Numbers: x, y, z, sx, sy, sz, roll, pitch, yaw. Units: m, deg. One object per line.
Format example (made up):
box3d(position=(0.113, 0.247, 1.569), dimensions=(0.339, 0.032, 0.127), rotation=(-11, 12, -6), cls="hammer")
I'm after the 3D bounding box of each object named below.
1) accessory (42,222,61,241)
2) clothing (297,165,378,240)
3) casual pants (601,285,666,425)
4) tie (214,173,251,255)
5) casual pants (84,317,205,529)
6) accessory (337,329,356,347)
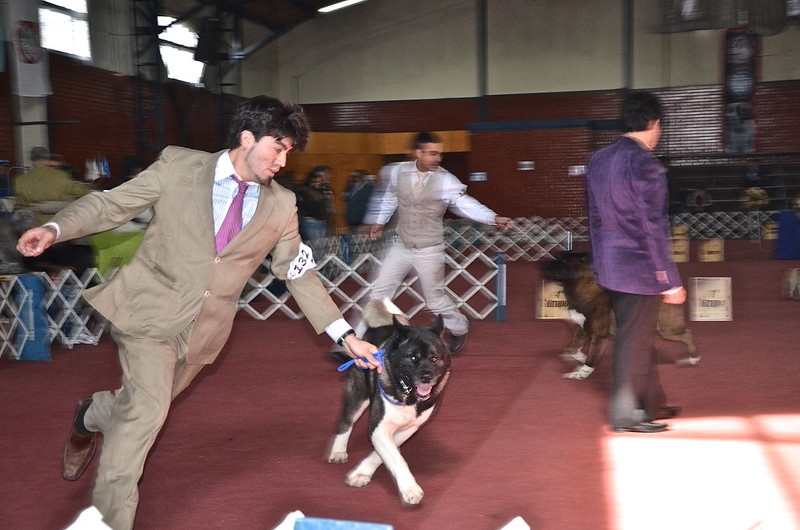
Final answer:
box3d(position=(-2.107, -0.216, 4.011), dimensions=(0.118, 0.041, 0.095), rotation=(29, 21, -19), cls="accessory")
box3d(position=(-1.308, -1.234, 13.146), dimensions=(1.040, 0.822, 3.225), rotation=(6, -29, -18), cls="clothing")
box3d(position=(2.080, 0.696, 5.765), dimensions=(0.430, 1.458, 0.545), rotation=(-5, -28, 21), cls="casual pants")
box3d(position=(-1.082, -0.329, 4.316), dimensions=(0.180, 0.512, 0.064), rotation=(26, -11, -13), cls="tie")
box3d(position=(-1.672, 1.005, 4.257), dimensions=(0.361, 1.205, 0.712), rotation=(8, 15, 37), cls="casual pants")
box3d(position=(-0.362, 0.490, 4.593), dimensions=(0.046, 0.123, 0.108), rotation=(38, -27, -2), cls="accessory")
